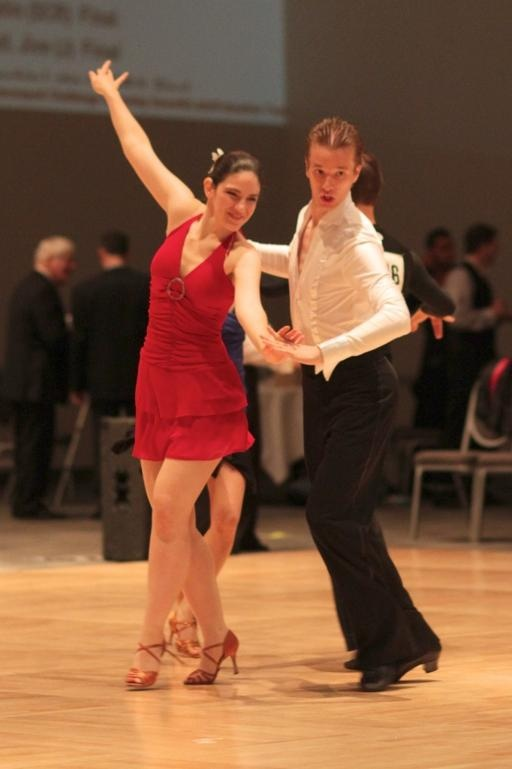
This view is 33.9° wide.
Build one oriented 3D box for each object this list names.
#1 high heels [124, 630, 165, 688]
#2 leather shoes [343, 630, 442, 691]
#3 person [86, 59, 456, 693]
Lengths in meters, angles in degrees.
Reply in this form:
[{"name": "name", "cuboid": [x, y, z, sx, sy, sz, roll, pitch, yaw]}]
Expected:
[{"name": "high heels", "cuboid": [-0.237, 0.592, 1.862, 0.061, 0.060, 0.146, 1, 37, 16]}, {"name": "leather shoes", "cuboid": [0.313, 0.635, 1.958, 0.257, 0.090, 0.084, -4, -2, -26]}, {"name": "person", "cuboid": [0.041, 0.083, 1.862, 0.776, 1.329, 0.639, 4, 9, 12]}]
